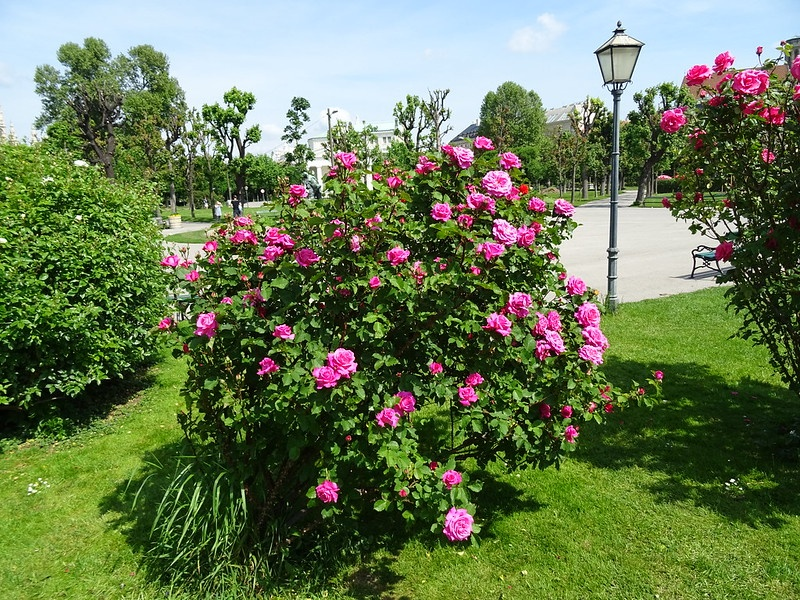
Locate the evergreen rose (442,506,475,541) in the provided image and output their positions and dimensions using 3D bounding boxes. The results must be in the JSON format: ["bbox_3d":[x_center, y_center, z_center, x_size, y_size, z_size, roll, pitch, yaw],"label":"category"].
[{"bbox_3d":[0.482,1.859,4.658,0.238,0.249,0.215,-4,14,-1],"label":"evergreen rose"}]
